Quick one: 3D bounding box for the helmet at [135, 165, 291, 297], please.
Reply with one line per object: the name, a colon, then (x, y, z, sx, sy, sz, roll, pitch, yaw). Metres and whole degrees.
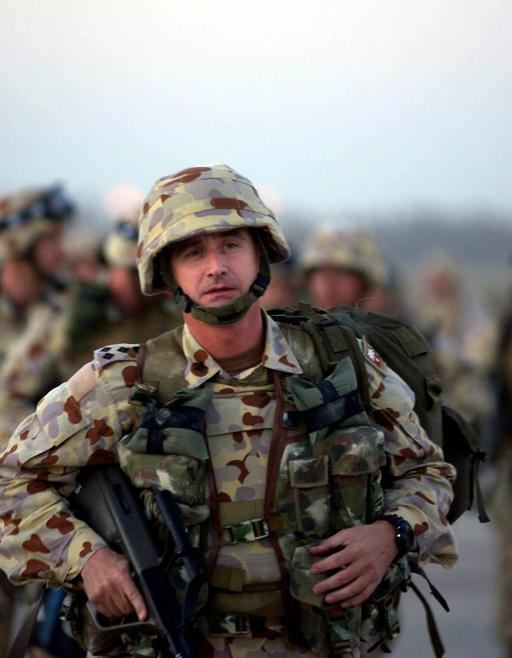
helmet: (-0.174, -0.358, 2.971, 0.524, 0.338, 0.495, -22, -3, 3)
